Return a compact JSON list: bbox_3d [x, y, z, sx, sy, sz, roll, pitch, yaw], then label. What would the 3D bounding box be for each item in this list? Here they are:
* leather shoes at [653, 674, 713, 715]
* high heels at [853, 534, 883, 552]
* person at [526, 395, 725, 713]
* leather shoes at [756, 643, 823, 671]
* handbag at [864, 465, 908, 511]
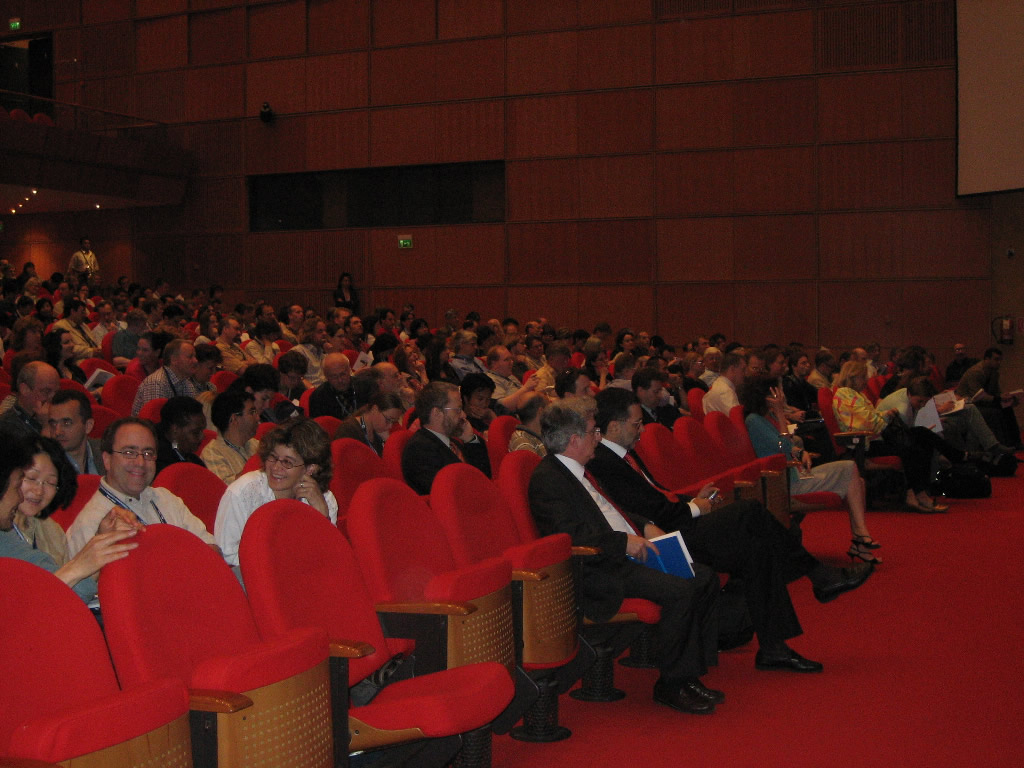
[{"bbox_3d":[0.658,1.192,3.298,0.217,0.113,0.093,-1,5,28],"label":"leather shoes"},{"bbox_3d":[2.212,1.026,5.363,0.218,0.092,0.110,-1,9,34],"label":"high heels"},{"bbox_3d":[0.408,0.760,4.149,1.004,1.896,0.846,-5,0,9],"label":"person"},{"bbox_3d":[1.237,1.199,3.752,0.299,0.139,0.119,-2,0,6],"label":"leather shoes"},{"bbox_3d":[3.145,0.868,7.186,0.302,0.254,0.313,-11,25,-16],"label":"handbag"}]
